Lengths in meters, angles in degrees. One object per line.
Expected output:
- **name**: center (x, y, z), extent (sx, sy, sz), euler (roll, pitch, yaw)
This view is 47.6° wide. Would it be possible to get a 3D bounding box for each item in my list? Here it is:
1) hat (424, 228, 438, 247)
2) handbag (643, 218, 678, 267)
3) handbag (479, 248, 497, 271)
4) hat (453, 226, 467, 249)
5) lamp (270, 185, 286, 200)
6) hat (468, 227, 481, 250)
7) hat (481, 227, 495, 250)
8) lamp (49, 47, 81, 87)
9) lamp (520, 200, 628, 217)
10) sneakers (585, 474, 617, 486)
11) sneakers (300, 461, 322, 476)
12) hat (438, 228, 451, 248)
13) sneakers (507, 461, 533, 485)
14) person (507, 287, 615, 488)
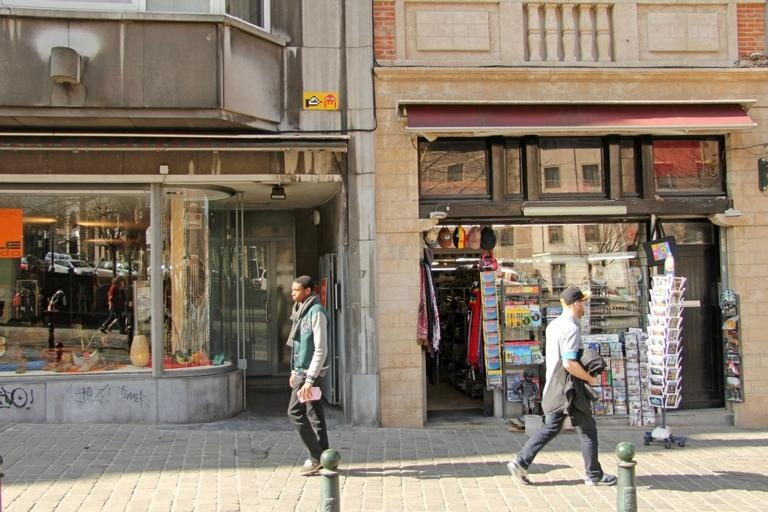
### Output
- **hat**: center (0.865, -0.315, 15.850), extent (0.157, 0.348, 0.417), euler (-2, 0, 24)
- **handbag**: center (4.902, -0.229, 15.391), extent (0.601, 0.859, 0.589), euler (-17, -13, 40)
- **handbag**: center (1.914, 0.105, 15.973), extent (0.384, 0.377, 0.273), euler (0, -6, -4)
- **hat**: center (1.372, -0.308, 15.921), extent (0.255, 0.360, 0.126), euler (0, 10, 22)
- **lamp**: center (-1.956, -1.150, 15.866), extent (0.240, 0.243, 0.592), euler (-2, 0, -8)
- **hat**: center (1.650, -0.305, 15.926), extent (0.239, 0.373, 0.205), euler (1, -6, 4)
- **hat**: center (1.895, -0.303, 15.985), extent (0.266, 0.438, 0.091), euler (-2, 0, 0)
- **lamp**: center (-5.384, -3.159, 14.588), extent (0.665, 0.631, 0.369), euler (6, 11, 34)
- **lamp**: center (3.474, -0.857, 15.745), extent (1.962, 0.288, 0.351), euler (-2, 0, -8)
- **sneakers**: center (3.248, 3.343, 12.962), extent (0.402, 0.170, 0.172), euler (-2, 3, 0)
- **sneakers**: center (-1.131, 3.213, 13.131), extent (0.361, 0.172, 0.166), euler (-3, 3, -6)
- **hat**: center (1.109, -0.308, 15.925), extent (0.244, 0.345, 0.113), euler (-2, 10, 11)
- **sneakers**: center (2.011, 3.258, 13.026), extent (0.232, 0.497, 0.180), euler (-34, 16, 10)
- **person**: center (2.702, 1.955, 13.044), extent (1.434, 2.985, 0.498), euler (-2, 0, 9)
